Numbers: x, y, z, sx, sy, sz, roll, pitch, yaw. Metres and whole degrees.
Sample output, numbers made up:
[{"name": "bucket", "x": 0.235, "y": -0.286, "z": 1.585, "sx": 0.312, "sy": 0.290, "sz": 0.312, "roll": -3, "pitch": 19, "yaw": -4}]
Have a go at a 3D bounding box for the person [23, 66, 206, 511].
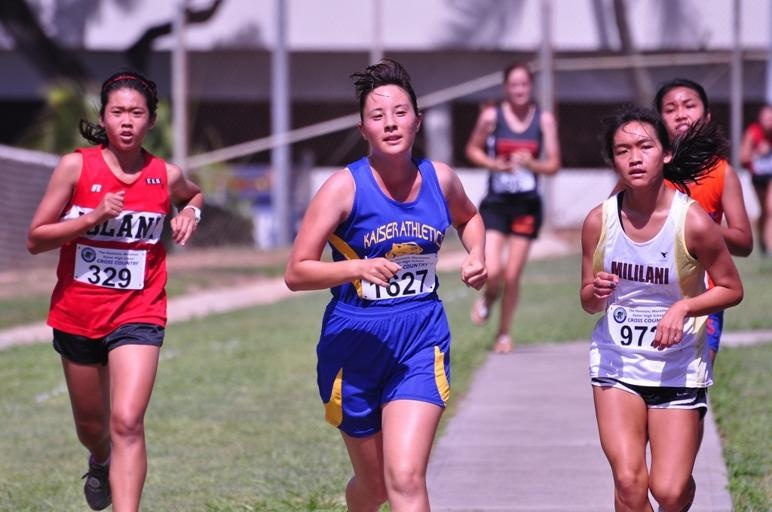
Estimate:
[{"name": "person", "x": -1.556, "y": 0.288, "z": 4.693, "sx": 0.753, "sy": 2.588, "sz": 0.848, "roll": 2, "pitch": 6, "yaw": 11}]
